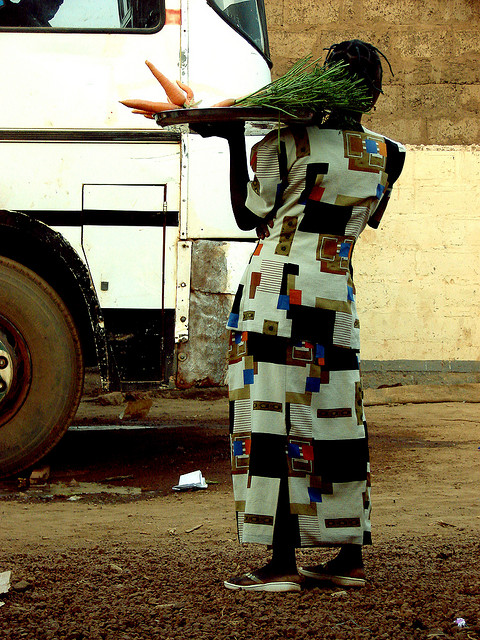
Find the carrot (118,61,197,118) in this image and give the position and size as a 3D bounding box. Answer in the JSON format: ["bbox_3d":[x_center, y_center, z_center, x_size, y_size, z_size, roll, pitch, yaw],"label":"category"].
[{"bbox_3d":[-0.298,-0.841,4.515,0.223,0.190,0.060,32,12,17],"label":"carrot"}]

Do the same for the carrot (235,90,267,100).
[{"bbox_3d":[0.046,-0.834,4.399,0.068,0.033,0.153,-5,7,-42],"label":"carrot"}]

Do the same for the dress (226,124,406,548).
[{"bbox_3d":[0.256,0.054,4.292,0.600,1.496,0.302,-1,5,0],"label":"dress"}]

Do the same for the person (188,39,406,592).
[{"bbox_3d":[0.214,0.105,4.314,0.703,1.715,0.337,-1,5,-2],"label":"person"}]

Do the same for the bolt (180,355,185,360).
[{"bbox_3d":[-0.278,0.175,5.714,0.024,0.022,0.006,-4,3,-13],"label":"bolt"}]

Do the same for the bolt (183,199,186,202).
[{"bbox_3d":[-0.268,-0.571,5.660,0.011,0.010,0.002,4,32,-4],"label":"bolt"}]

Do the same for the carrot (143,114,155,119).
[{"bbox_3d":[-0.343,-0.775,4.533,0.023,0.022,0.037,-3,12,-32],"label":"carrot"}]
